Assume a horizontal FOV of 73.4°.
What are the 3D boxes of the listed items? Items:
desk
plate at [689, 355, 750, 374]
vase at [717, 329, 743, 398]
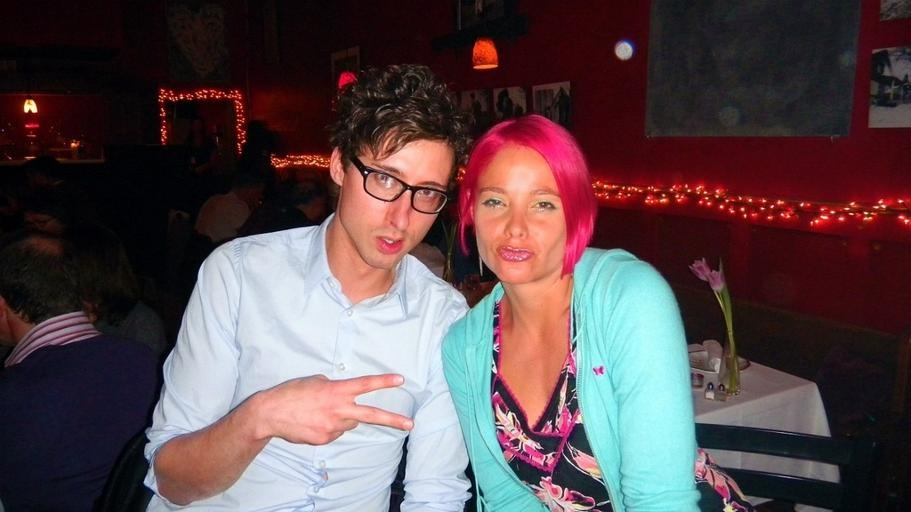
[{"bbox_3d":[2.102,1.127,4.643,1.280,0.610,1.225,-5,14,-30],"label":"desk"},{"bbox_3d":[2.044,0.792,4.654,0.599,0.078,0.168,-6,7,-26],"label":"plate"},{"bbox_3d":[2.026,0.794,4.402,0.183,0.501,0.172,2,-9,0],"label":"vase"}]
